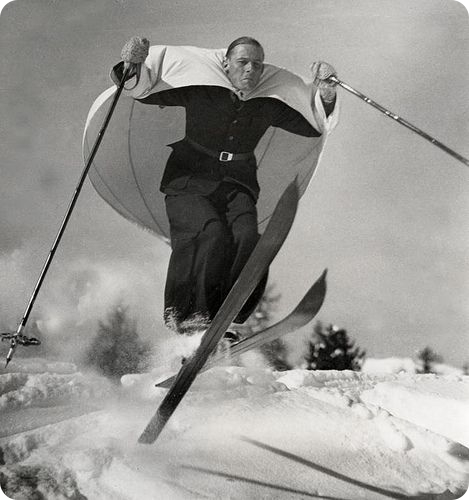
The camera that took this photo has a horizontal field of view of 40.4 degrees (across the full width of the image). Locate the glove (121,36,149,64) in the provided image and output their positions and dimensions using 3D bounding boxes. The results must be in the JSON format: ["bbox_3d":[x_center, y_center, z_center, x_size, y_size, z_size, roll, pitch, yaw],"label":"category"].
[{"bbox_3d":[-0.579,-1.160,3.753,0.125,0.172,0.066,29,1,11],"label":"glove"}]
